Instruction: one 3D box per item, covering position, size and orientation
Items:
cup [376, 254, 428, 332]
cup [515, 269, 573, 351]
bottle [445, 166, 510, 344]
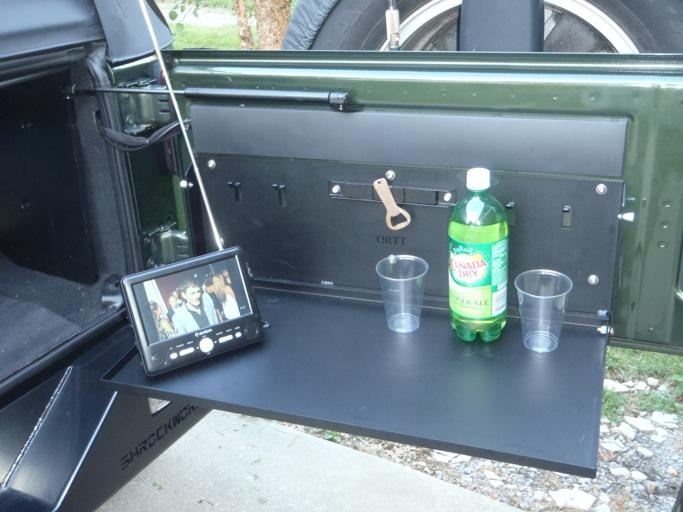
[{"bbox_3d":[0.147,0.093,1.320,0.123,0.157,0.130,3,-21,1],"label":"cup"},{"bbox_3d":[0.440,0.117,1.185,0.121,0.158,0.103,5,24,23],"label":"cup"},{"bbox_3d":[0.301,-0.004,1.182,0.134,0.388,0.109,1,23,15],"label":"bottle"}]
